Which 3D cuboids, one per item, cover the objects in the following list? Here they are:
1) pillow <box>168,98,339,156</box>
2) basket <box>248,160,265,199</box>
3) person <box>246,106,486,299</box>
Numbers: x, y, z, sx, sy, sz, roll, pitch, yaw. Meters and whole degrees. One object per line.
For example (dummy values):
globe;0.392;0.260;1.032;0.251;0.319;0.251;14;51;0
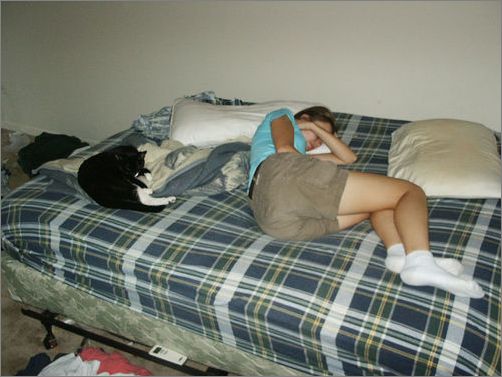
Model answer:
pillow;-0.102;-0.447;2.604;0.883;0.181;0.472;-3;32;-11
basket;0.019;-0.028;1.853;0.058;0.140;0.112;17;-2;14
person;0.543;-0.031;1.819;1.165;1.043;0.367;5;-37;15
